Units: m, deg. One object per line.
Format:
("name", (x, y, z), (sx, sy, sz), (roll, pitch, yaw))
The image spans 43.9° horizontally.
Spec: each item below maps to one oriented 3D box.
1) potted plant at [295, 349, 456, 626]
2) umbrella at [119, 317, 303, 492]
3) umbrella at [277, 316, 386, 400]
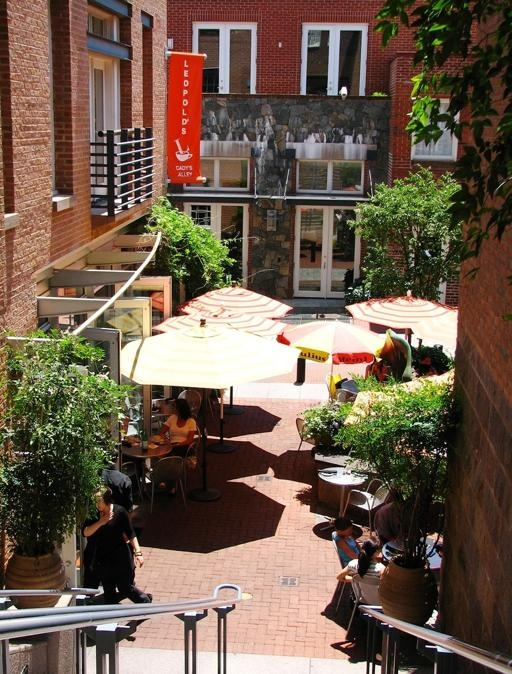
("potted plant", (1.630, 1.517, 6.883), (1.113, 1.908, 1.304), (9, 15, 41))
("umbrella", (-0.835, 1.144, 10.477), (2.545, 2.318, 2.536), (2, 19, -4))
("umbrella", (1.472, 0.346, 11.721), (1.229, 0.739, 1.199), (4, 12, -7))
